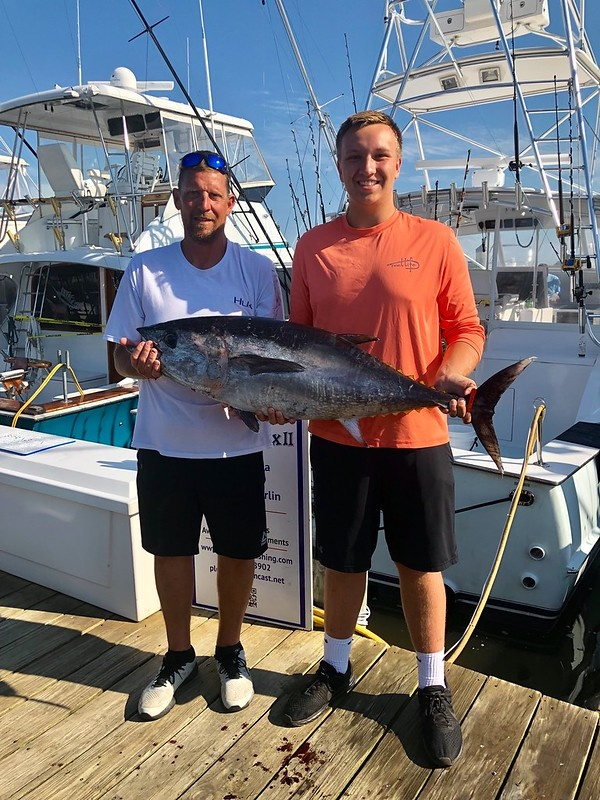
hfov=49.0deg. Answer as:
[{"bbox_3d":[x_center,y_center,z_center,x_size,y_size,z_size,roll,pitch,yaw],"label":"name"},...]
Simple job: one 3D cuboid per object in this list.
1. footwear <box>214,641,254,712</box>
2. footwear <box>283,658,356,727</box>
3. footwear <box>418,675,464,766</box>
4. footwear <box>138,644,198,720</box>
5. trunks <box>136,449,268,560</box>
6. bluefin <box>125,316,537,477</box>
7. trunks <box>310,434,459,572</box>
[{"bbox_3d":[-0.230,0.929,2.281,0.114,0.099,0.304,-5,17,-9],"label":"footwear"},{"bbox_3d":[0.059,0.965,2.185,0.098,0.110,0.287,-13,-12,28],"label":"footwear"},{"bbox_3d":[0.429,0.983,1.978,0.083,0.085,0.227,-2,-1,9],"label":"footwear"},{"bbox_3d":[-0.446,0.945,2.211,0.091,0.103,0.256,6,8,14],"label":"footwear"},{"bbox_3d":[-0.332,0.347,2.250,0.443,0.350,0.228,-1,0,-2],"label":"trunks"},{"bbox_3d":[0.013,-0.053,1.924,1.113,0.336,0.270,10,3,13],"label":"bluefin"},{"bbox_3d":[0.264,0.337,2.155,0.460,0.401,0.255,-2,-3,5],"label":"trunks"}]
